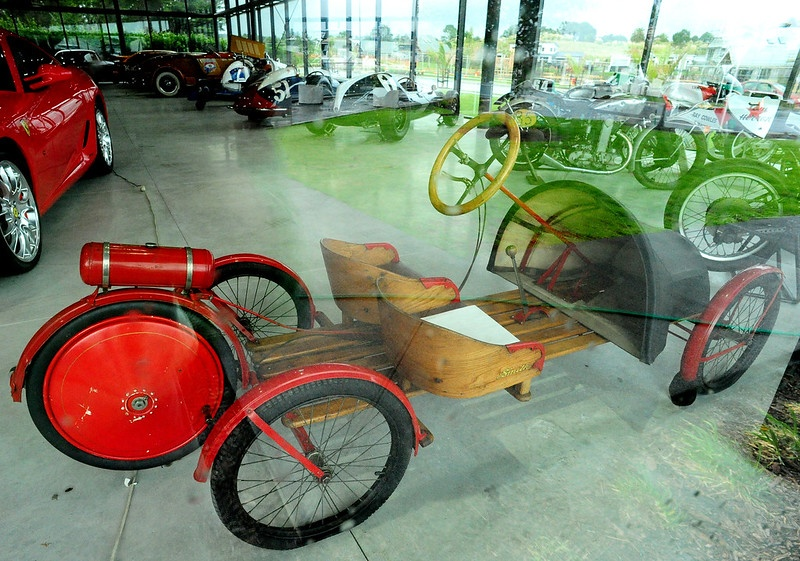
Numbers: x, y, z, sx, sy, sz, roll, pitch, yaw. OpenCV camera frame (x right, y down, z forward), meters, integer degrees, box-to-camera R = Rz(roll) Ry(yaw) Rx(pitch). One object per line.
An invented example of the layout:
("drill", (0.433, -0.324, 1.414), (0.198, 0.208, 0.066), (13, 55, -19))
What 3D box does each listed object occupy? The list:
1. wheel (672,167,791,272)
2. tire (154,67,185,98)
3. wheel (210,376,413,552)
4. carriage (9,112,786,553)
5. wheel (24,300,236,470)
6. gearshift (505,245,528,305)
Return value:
("wheel", (2.113, -0.387, 2.998), (0.791, 0.689, 0.166), (-15, 24, 13))
("tire", (-6.071, -5.139, 12.399), (0.907, 0.755, 0.284), (10, 19, -11))
("wheel", (-0.352, 0.725, 1.839), (0.832, 0.702, 0.111), (5, 24, -24))
("carriage", (0.183, 0.075, 2.268), (3.477, 1.257, 1.181), (-8, 31, -22))
("wheel", (-0.975, 0.384, 1.752), (0.722, 0.598, 0.094), (18, 14, -23))
("gearshift", (0.539, -0.025, 2.186), (0.050, 0.251, 0.053), (-13, -4, 11))
